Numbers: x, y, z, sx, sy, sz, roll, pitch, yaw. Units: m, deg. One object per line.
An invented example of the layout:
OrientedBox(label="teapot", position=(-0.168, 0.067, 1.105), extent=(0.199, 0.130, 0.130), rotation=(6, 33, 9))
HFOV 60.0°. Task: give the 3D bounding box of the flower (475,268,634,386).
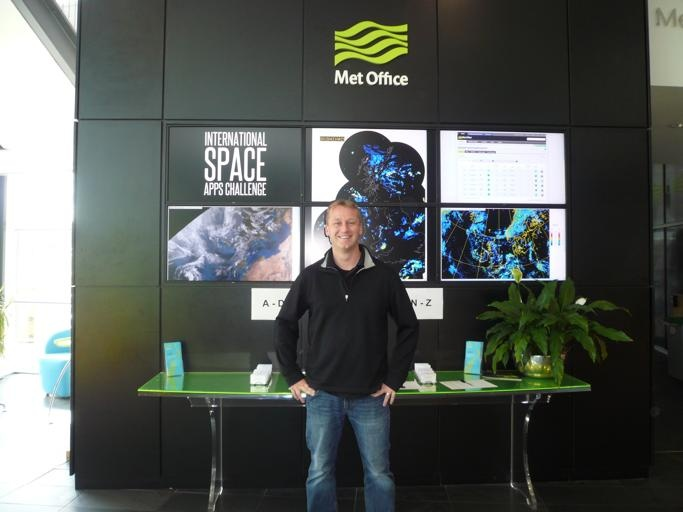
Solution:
OrientedBox(label="flower", position=(1.882, 0.533, 4.811), extent=(0.832, 0.502, 0.946), rotation=(-26, 27, -35))
